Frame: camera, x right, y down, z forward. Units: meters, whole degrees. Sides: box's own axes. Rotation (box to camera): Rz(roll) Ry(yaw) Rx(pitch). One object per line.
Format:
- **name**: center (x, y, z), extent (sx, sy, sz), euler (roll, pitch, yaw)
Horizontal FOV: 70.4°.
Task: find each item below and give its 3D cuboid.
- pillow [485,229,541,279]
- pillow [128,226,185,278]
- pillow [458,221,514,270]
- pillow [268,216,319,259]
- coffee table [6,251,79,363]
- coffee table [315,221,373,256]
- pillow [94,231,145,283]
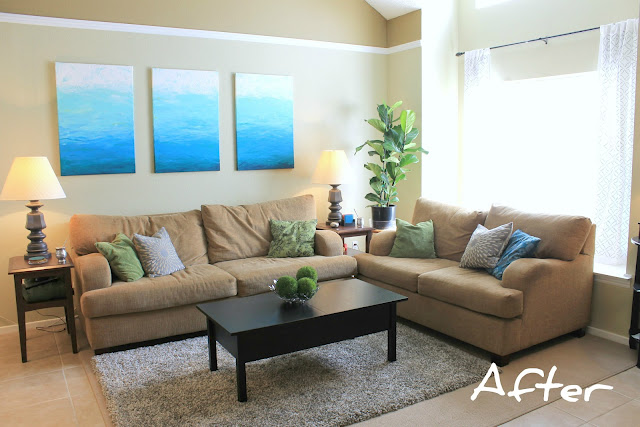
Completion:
- **pillow**: center (1.864, 0.412, 4.399), extent (0.144, 0.434, 0.465), euler (34, -8, -6)
- **pillow**: center (-1.650, 0.390, 4.736), extent (0.546, 0.509, 0.141), euler (-26, -2, 14)
- **pillow**: center (1.687, 0.325, 4.571), extent (0.157, 0.474, 0.482), euler (28, -7, -19)
- **pillow**: center (-0.343, 0.303, 5.332), extent (0.486, 0.389, 0.176), euler (2, -27, -2)
- **coffee table**: center (-2.692, 0.879, 4.443), extent (0.539, 0.910, 0.658), euler (-8, 11, -29)
- **coffee table**: center (0.333, 0.276, 5.915), extent (0.512, 0.462, 0.497), euler (-3, 6, -29)
- **pillow**: center (-1.987, 0.440, 4.561), extent (0.411, 0.416, 0.317), euler (2, 10, 28)
